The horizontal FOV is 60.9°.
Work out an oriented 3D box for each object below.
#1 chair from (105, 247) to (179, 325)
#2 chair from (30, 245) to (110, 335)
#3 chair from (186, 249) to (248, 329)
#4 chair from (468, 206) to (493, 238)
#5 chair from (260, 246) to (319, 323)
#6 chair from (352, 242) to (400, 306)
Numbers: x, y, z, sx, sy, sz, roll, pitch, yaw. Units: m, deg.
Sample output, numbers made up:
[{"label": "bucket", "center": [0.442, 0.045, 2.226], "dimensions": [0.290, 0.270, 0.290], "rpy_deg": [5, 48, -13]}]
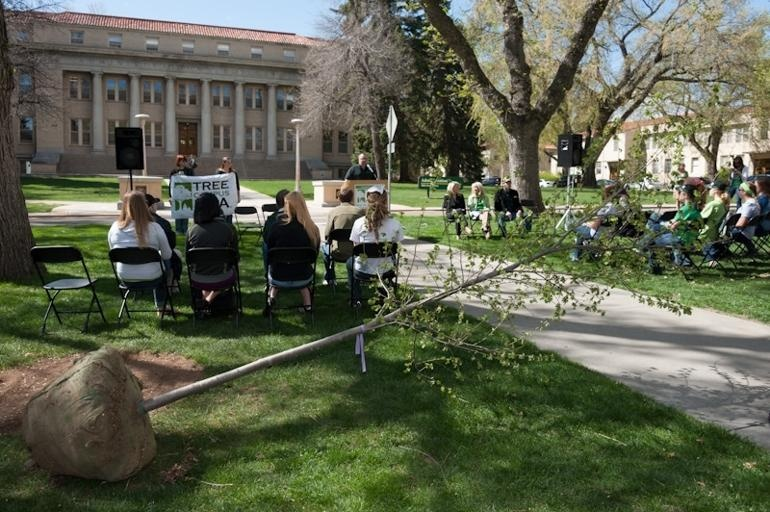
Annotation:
[{"label": "chair", "center": [-3.632, 0.382, 9.883], "dimensions": [0.870, 1.141, 1.278], "rpy_deg": [-1, 6, -18]}, {"label": "chair", "center": [-4.621, 0.442, 9.569], "dimensions": [0.840, 1.255, 1.069], "rpy_deg": [0, 5, 13]}, {"label": "chair", "center": [-2.529, 0.415, 9.680], "dimensions": [0.770, 1.137, 0.812], "rpy_deg": [0, 6, -13]}, {"label": "chair", "center": [2.458, -0.948, 16.638], "dimensions": [0.457, 0.511, 0.991], "rpy_deg": [-2, 42, -5]}, {"label": "chair", "center": [-1.449, 0.390, 9.847], "dimensions": [0.770, 1.099, 0.853], "rpy_deg": [0, 6, -12]}, {"label": "chair", "center": [-0.164, 0.209, 10.130], "dimensions": [0.719, 1.311, 0.939], "rpy_deg": [-1, 26, -3]}]
